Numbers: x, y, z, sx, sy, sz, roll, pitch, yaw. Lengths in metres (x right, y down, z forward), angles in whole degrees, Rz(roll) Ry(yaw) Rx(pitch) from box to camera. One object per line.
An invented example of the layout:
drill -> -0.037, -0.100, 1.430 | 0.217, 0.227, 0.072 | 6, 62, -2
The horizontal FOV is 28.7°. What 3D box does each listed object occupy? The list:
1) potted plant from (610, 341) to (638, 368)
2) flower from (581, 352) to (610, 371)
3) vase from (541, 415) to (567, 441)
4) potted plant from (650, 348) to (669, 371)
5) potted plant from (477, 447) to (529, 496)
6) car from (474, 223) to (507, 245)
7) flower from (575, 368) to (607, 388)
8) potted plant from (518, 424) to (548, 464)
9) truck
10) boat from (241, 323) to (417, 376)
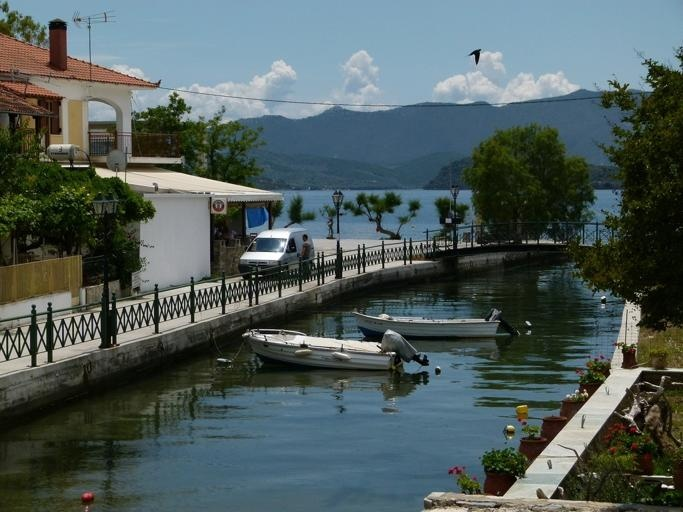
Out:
potted plant -> 9.101, 3.256, 43.119 | 0.923, 1.007, 0.794 | 1, 3, 3
flower -> 8.004, 3.443, 42.006 | 1.014, 0.604, 1.052 | 0, -1, 14
vase -> 5.814, 4.802, 37.031 | 0.580, 0.617, 0.605 | 0, 3, 2
potted plant -> 9.706, 3.224, 41.256 | 0.528, 0.564, 0.571 | 1, 2, 8
potted plant -> 4.127, 5.572, 34.707 | 1.266, 1.133, 1.146 | -3, 1, -3
car -> 8.224, -1.204, 74.260 | 1.789, 1.159, 3.420 | 1, 2, 6
flower -> 7.573, 3.764, 40.892 | 0.812, 0.347, 0.845 | 0, -1, 2
potted plant -> 5.047, 5.125, 36.140 | 0.809, 1.215, 0.843 | 0, -5, -1
truck -> -2.851, -0.169, 58.208 | 2.918, 2.069, 5.913 | 1, 2, 10
boat -> -0.416, 3.355, 48.014 | 6.461, 1.645, 2.155 | 3, 5, 9
